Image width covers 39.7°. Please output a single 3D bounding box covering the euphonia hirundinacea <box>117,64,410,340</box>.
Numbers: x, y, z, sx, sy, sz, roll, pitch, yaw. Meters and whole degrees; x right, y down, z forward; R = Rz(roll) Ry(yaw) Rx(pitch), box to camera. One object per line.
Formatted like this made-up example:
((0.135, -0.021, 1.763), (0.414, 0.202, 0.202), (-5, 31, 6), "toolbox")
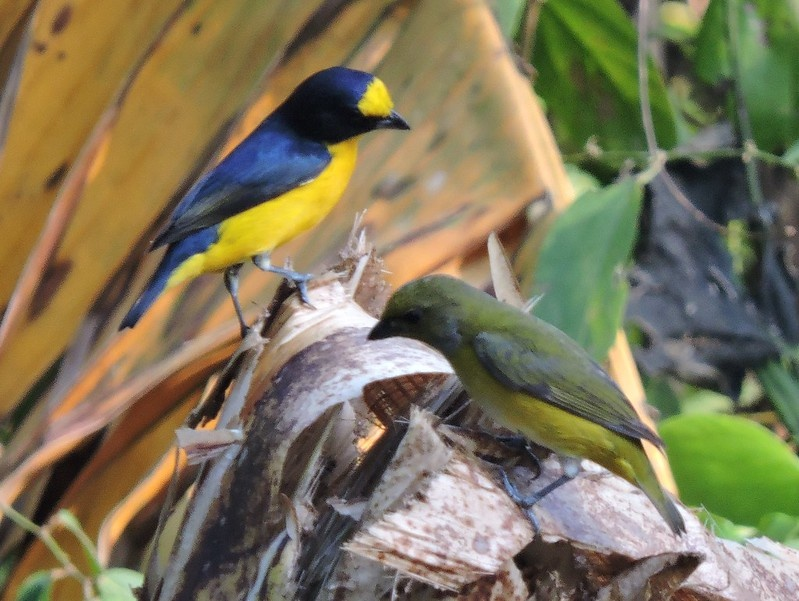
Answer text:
((-0.289, -0.221, 2.268), (0.518, 0.544, 0.231), (2, 7, -14), "euphonia hirundinacea")
